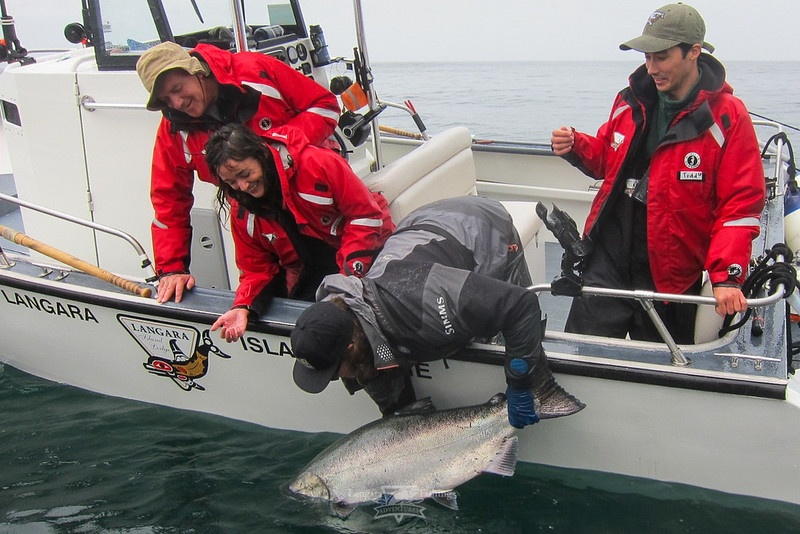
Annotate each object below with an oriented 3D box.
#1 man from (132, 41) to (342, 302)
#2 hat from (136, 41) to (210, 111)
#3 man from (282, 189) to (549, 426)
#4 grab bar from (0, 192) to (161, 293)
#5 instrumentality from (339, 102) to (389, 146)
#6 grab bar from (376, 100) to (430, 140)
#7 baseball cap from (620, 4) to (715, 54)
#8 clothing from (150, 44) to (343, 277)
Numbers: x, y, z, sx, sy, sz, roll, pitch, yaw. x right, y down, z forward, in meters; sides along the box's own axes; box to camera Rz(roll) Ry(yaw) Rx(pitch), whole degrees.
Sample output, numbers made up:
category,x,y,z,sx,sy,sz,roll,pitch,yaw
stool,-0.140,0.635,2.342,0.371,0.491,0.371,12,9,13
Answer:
category,x,y,z,sx,sy,sz,roll,pitch,yaw
man,-0.997,-0.547,3.865,1.076,1.358,1.216,12,44,17
hat,-1.268,-1.103,3.755,0.327,0.225,0.417,-45,-8,29
man,0.106,0.257,3.388,1.278,1.128,0.825,-3,13,-3
grab bar,-2.121,-0.152,4.343,1.140,0.289,0.106,25,43,4
instrumentality,-0.292,-0.964,4.495,0.373,0.147,0.202,-40,48,-5
grab bar,0.053,-1.499,6.533,0.217,0.418,0.765,-22,23,-18
baseball cap,1.409,-1.252,3.392,0.387,0.260,0.217,1,13,16
clothing,-1.001,-0.672,4.069,1.163,1.429,0.634,-11,-9,27
